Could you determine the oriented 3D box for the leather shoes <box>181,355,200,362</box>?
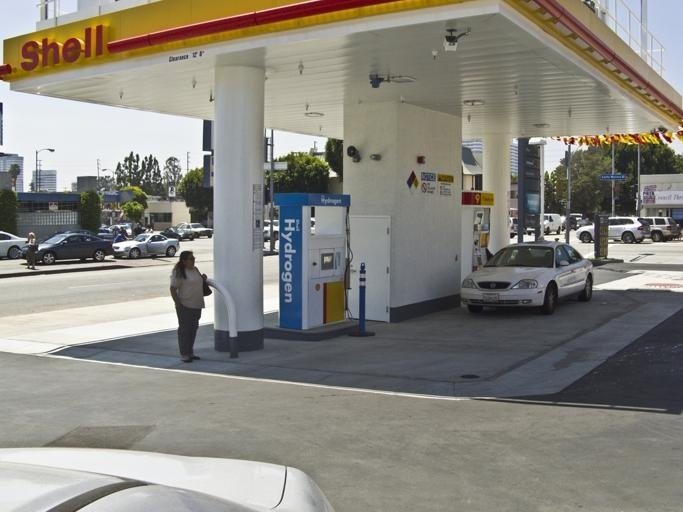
[{"bbox_3d":[-2.655,1.814,12.130,0.298,0.135,0.105,-1,1,-11],"label":"leather shoes"}]

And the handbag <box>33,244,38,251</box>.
[{"bbox_3d":[-13.479,-0.348,30.365,0.144,0.290,0.281,1,2,29],"label":"handbag"}]

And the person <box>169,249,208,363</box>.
[{"bbox_3d":[-2.654,0.885,12.119,0.635,1.919,0.543,0,4,-14],"label":"person"}]

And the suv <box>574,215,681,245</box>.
[{"bbox_3d":[21.172,-1.866,50.994,9.220,1.878,3.108,-2,5,-37],"label":"suv"}]

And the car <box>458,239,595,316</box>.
[{"bbox_3d":[4.815,0.499,17.832,1.808,1.679,3.833,4,5,43],"label":"car"}]

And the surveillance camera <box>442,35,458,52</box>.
[{"bbox_3d":[1.712,-3.368,10.998,0.157,0.238,0.299,1,0,5],"label":"surveillance camera"}]

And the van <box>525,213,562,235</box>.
[{"bbox_3d":[21.039,-3.215,70.633,2.065,1.986,8.888,3,4,25],"label":"van"}]

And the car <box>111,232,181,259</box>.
[{"bbox_3d":[-11.064,-0.631,38.934,1.287,1.022,2.840,-2,-5,35],"label":"car"}]

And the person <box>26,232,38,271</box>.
[{"bbox_3d":[-13.659,-0.193,30.499,0.385,1.576,1.152,-1,4,-24],"label":"person"}]
